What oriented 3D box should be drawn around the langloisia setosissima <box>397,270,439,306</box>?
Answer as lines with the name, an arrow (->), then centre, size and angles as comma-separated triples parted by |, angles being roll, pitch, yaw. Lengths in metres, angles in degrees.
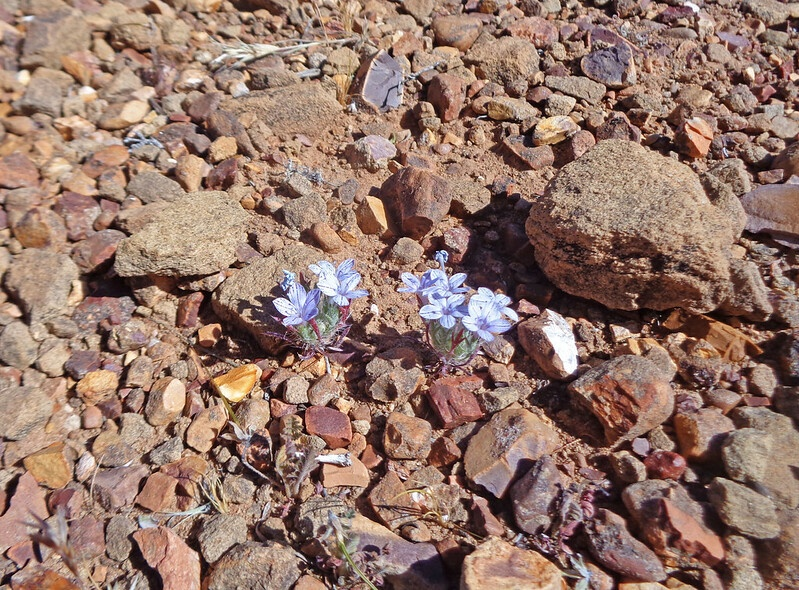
langloisia setosissima -> 0.125, -0.083, 4.189 | 0.249, 0.165, 0.251 | -37, 36, -8

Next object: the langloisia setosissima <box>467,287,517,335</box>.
langloisia setosissima -> 0.556, 0.120, 3.923 | 0.326, 0.122, 0.310 | -14, 53, -10

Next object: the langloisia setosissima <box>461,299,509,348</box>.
langloisia setosissima -> 0.513, 0.151, 3.892 | 0.340, 0.131, 0.315 | 7, 26, 43

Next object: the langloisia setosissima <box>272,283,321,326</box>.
langloisia setosissima -> -0.643, 0.087, 3.989 | 0.334, 0.144, 0.315 | -21, 53, 10
